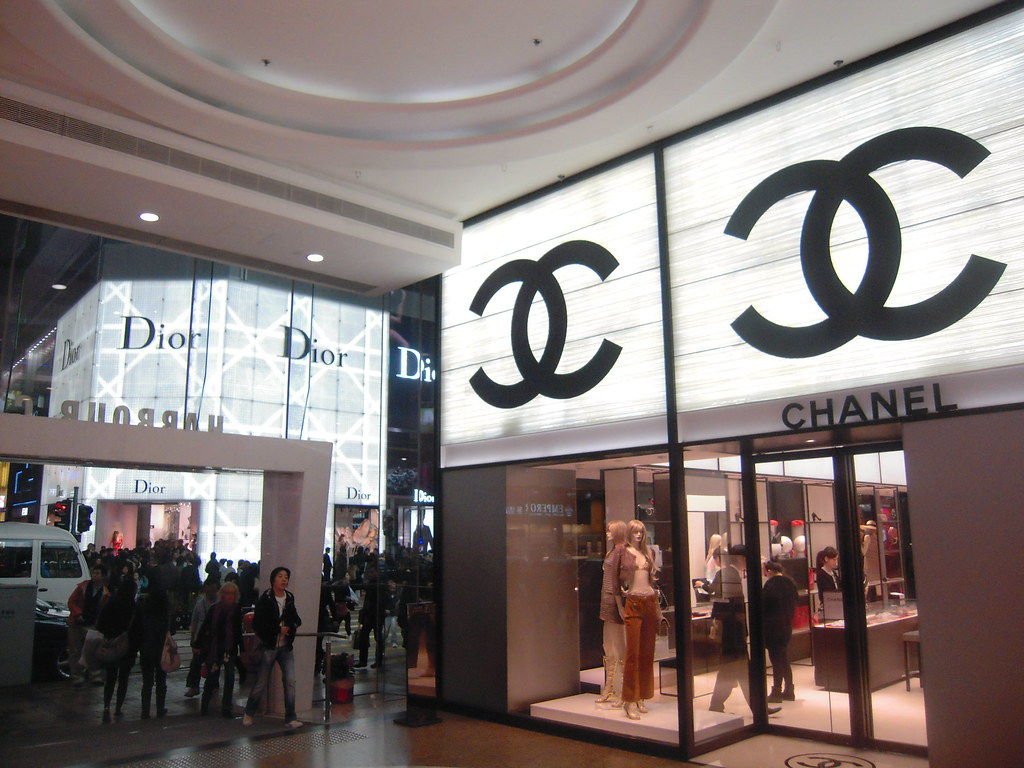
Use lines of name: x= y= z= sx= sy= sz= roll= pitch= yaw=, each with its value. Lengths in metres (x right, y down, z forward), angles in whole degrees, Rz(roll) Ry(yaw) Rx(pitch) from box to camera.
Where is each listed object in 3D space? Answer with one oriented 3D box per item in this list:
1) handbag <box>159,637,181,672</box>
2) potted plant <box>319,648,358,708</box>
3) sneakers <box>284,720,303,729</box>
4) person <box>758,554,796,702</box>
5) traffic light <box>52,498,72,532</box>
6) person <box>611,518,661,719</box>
handbag: x=-3.558 y=2.815 z=7.985 sx=0.182 sy=0.372 sz=0.104 roll=6 pitch=-13 yaw=-24
potted plant: x=-2.126 y=3.605 z=9.405 sx=0.360 sy=0.560 sz=0.357 roll=-19 pitch=-21 yaw=39
sneakers: x=-2.258 y=3.549 z=7.986 sx=0.059 sy=0.076 sz=0.163 roll=13 pitch=-24 yaw=-38
person: x=2.573 y=2.356 z=7.294 sx=0.318 sy=1.307 sz=0.206 roll=-7 pitch=-14 yaw=31
traffic light: x=-4.441 y=1.273 z=7.531 sx=0.183 sy=0.280 sz=0.082 roll=7 pitch=-14 yaw=-29
person: x=1.304 y=2.331 z=7.732 sx=0.408 sy=1.869 sz=0.330 roll=0 pitch=-12 yaw=2
